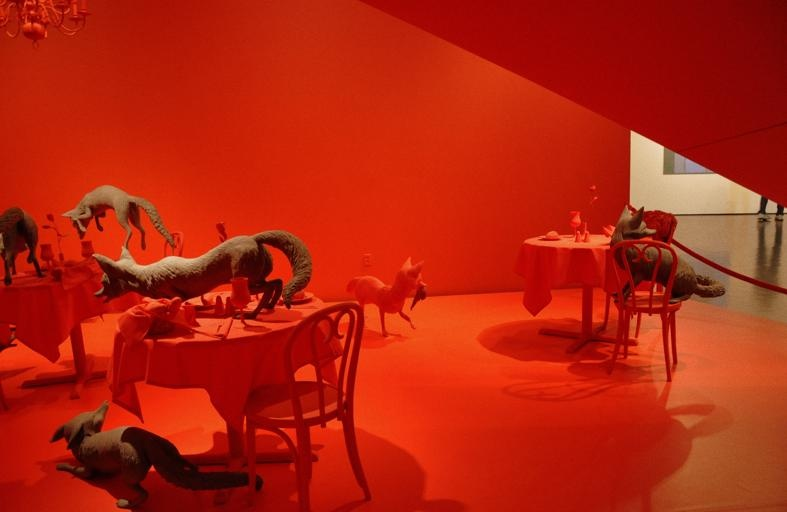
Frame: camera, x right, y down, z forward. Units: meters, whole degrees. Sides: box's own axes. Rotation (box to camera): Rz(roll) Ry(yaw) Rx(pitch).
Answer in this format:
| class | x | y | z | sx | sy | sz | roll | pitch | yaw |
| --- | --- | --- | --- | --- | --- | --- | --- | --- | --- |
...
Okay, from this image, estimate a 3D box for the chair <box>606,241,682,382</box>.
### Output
| class | x | y | z | sx | sy | sz | roll | pitch | yaw |
| --- | --- | --- | --- | --- | --- | --- | --- | --- | --- |
| chair | 2.010 | 0.350 | 5.086 | 0.537 | 1.073 | 1.010 | 6 | 10 | 25 |
